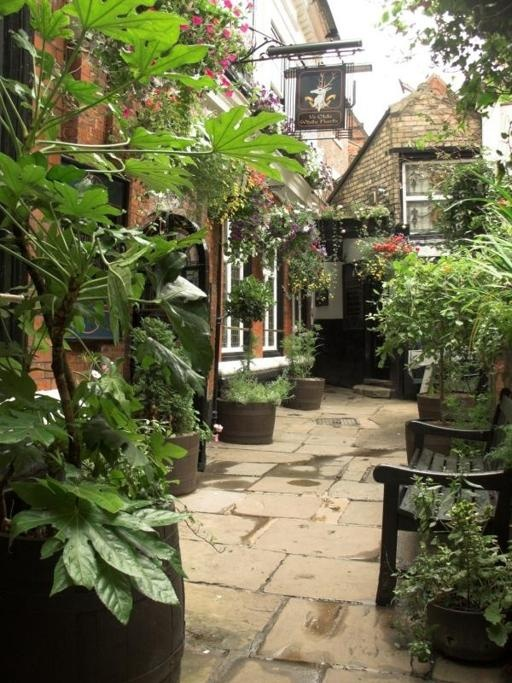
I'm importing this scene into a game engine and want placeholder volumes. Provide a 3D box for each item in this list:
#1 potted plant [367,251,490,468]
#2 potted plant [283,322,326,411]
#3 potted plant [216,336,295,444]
[{"bbox_3d":[1.423,0.072,4.276,0.887,1.256,1.042,12,-14,-44],"label":"potted plant"},{"bbox_3d":[0.707,0.410,9.332,0.722,1.452,0.680,-3,-3,-36],"label":"potted plant"},{"bbox_3d":[-0.098,0.692,6.327,0.738,0.760,0.692,18,5,-24],"label":"potted plant"}]
